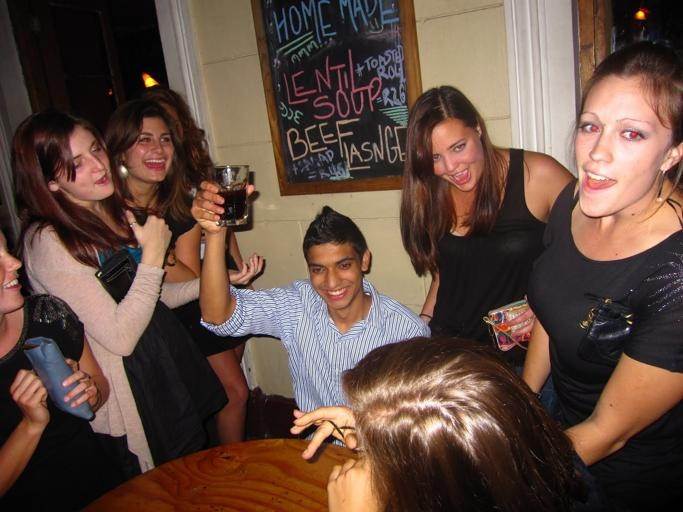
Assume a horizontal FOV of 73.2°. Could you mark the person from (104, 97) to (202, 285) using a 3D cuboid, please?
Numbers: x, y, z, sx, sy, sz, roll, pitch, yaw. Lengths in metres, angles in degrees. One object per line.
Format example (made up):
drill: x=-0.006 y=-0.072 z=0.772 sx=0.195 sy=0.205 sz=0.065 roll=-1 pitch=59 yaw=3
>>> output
person: x=-1.146 y=-0.409 z=2.739 sx=0.273 sy=1.162 sz=0.556 roll=-12 pitch=-11 yaw=34

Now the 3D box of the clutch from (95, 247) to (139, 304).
clutch: x=-0.983 y=0.116 z=2.127 sx=0.192 sy=0.201 sz=0.108 roll=-33 pitch=-8 yaw=13

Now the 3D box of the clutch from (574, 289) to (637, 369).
clutch: x=0.892 y=0.245 z=1.515 sx=0.162 sy=0.238 sz=0.105 roll=4 pitch=18 yaw=-5

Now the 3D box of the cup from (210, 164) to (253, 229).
cup: x=-0.467 y=-0.271 z=2.072 sx=0.204 sy=0.357 sz=0.219 roll=-2 pitch=4 yaw=0
